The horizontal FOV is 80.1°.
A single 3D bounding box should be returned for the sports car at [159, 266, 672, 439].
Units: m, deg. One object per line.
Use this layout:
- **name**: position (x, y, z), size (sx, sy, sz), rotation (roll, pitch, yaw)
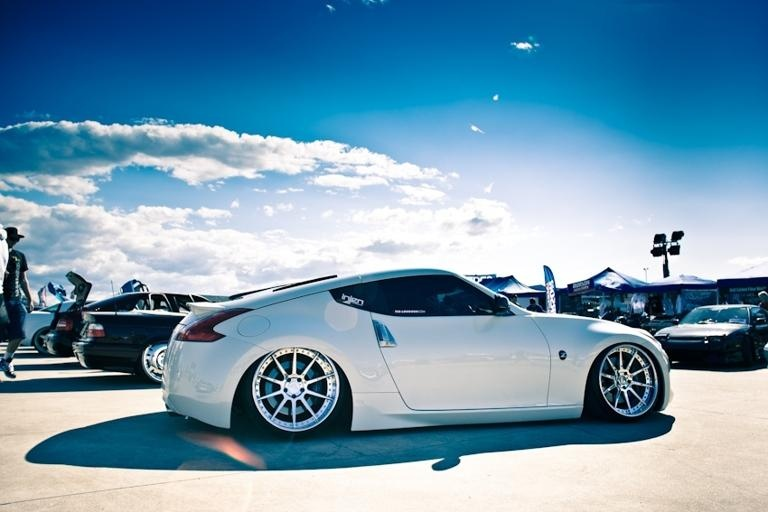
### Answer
- **sports car**: position (0.350, 0.990, 5.195), size (4.202, 1.220, 2.062), rotation (-2, -4, -14)
